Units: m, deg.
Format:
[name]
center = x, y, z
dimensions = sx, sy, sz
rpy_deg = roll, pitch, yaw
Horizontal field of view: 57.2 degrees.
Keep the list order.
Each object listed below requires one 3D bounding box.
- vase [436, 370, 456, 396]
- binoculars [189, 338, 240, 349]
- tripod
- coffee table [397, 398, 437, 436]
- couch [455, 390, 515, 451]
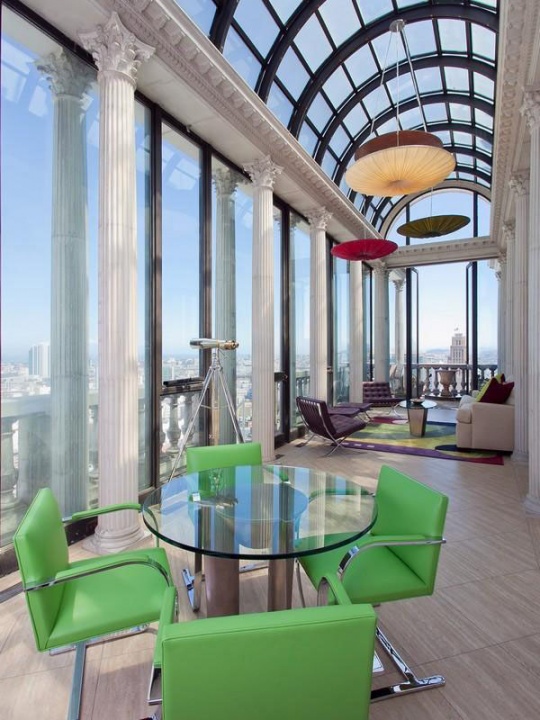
[vase]
center = 4.464, 0.569, 12.624
dimensions = 0.449, 0.703, 0.294
rpy_deg = -1, 0, 27
[binoculars]
center = -0.488, -0.135, 4.225
dimensions = 0.435, 0.123, 0.156
rpy_deg = 5, 9, 15
[tripod]
center = -0.620, 0.441, 4.183
dimensions = 0.657, 1.208, 0.766
rpy_deg = -3, -1, 39
[coffee table]
center = 2.229, 0.828, 7.601
dimensions = 0.591, 0.544, 0.588
rpy_deg = 0, 1, -36
[couch]
center = 2.614, 0.793, 6.041
dimensions = 0.532, 0.739, 1.057
rpy_deg = 1, -3, 18
